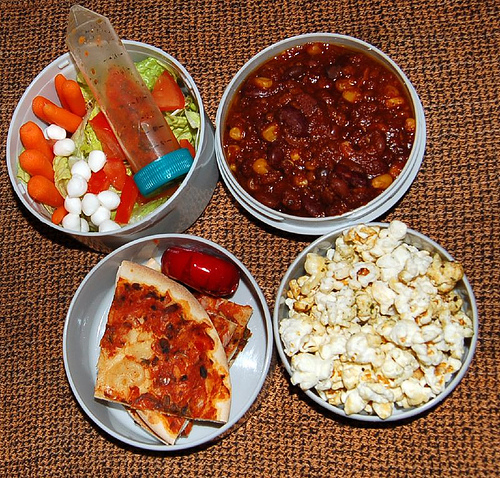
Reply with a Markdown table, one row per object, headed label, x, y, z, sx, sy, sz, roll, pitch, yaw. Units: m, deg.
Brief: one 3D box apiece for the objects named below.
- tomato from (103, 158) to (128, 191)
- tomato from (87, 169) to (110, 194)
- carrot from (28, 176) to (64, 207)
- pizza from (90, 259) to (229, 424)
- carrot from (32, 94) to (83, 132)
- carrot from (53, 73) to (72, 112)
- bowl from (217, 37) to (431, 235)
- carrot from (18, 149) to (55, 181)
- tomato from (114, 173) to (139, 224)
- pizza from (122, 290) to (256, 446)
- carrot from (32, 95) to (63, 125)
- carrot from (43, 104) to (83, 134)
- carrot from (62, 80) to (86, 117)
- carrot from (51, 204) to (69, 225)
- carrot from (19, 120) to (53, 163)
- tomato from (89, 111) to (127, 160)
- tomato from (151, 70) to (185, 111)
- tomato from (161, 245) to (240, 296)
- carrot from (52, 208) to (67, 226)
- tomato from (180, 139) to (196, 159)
| label | x | y | z | sx | sy | sz | roll | pitch | yaw |
| --- | --- | --- | --- | --- | --- | --- | --- | --- | --- |
| tomato | -0.354 | -0.161 | 1.410 | 0.054 | 0.021 | 0.087 | -18 | 95 | -12 |
| tomato | -0.392 | -0.146 | 1.407 | 0.046 | 0.023 | 0.065 | 18 | 80 | 3 |
| carrot | -0.519 | -0.117 | 1.370 | 0.036 | 0.090 | 0.040 | -39 | 64 | 5 |
| pizza | -0.183 | 0.236 | 1.258 | 0.318 | 0.048 | 0.327 | 9 | 80 | 2 |
| carrot | -0.507 | -0.329 | 1.423 | 0.142 | 0.043 | 0.038 | 37 | 56 | -25 |
| carrot | -0.490 | -0.381 | 1.447 | 0.029 | 0.029 | 0.109 | -10 | 115 | 3 |
| bowl | 0.174 | -0.266 | 1.341 | 0.502 | 0.123 | 0.512 | -1 | 81 | 4 |
| carrot | -0.534 | -0.181 | 1.396 | 0.045 | 0.111 | 0.043 | 7 | 70 | 25 |
| tomato | -0.316 | -0.097 | 1.388 | 0.039 | 0.039 | 0.157 | 20 | 81 | -8 |
| pizza | -0.130 | 0.320 | 1.309 | 0.341 | 0.087 | 0.358 | 23 | 69 | 14 |
| carrot | -0.543 | -0.348 | 1.435 | 0.055 | 0.089 | 0.059 | 29 | 81 | 6 |
| carrot | -0.491 | -0.316 | 1.421 | 0.032 | 0.111 | 0.033 | 13 | 73 | 46 |
| carrot | -0.473 | -0.371 | 1.455 | 0.066 | 0.149 | 0.053 | -2 | 77 | -7 |
| carrot | -0.495 | -0.061 | 1.400 | 0.036 | 0.014 | 0.047 | 24 | 78 | 19 |
| carrot | -0.552 | -0.255 | 1.394 | 0.054 | 0.046 | 0.123 | -34 | 105 | -36 |
| tomato | -0.373 | -0.274 | 1.429 | 0.082 | 0.032 | 0.121 | -31 | 96 | 12 |
| tomato | -0.222 | -0.385 | 1.428 | 0.071 | 0.036 | 0.104 | -28 | 81 | -5 |
| tomato | -0.122 | 0.079 | 1.350 | 0.188 | 0.089 | 0.095 | 18 | 95 | 12 |
| carrot | -0.492 | -0.054 | 1.407 | 0.032 | 0.024 | 0.043 | 21 | 80 | -4 |
| tomato | -0.165 | -0.241 | 1.434 | 0.037 | 0.014 | 0.054 | -9 | 113 | 20 |
